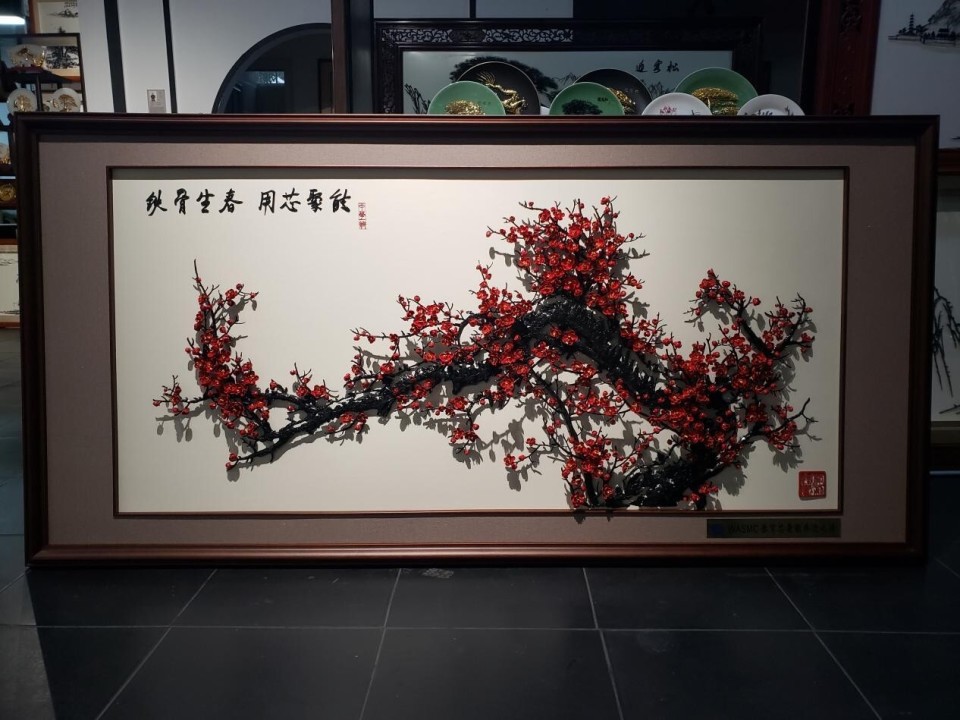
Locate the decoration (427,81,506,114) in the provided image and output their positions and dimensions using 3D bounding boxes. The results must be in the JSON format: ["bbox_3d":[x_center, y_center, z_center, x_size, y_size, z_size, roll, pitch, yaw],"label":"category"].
[{"bbox_3d":[-0.071,-1.199,3.628,0.338,0.149,0.099,-3,11,-4],"label":"decoration"}]

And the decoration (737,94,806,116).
[{"bbox_3d":[1.293,-1.142,3.549,0.252,0.109,0.207,2,13,22],"label":"decoration"}]
